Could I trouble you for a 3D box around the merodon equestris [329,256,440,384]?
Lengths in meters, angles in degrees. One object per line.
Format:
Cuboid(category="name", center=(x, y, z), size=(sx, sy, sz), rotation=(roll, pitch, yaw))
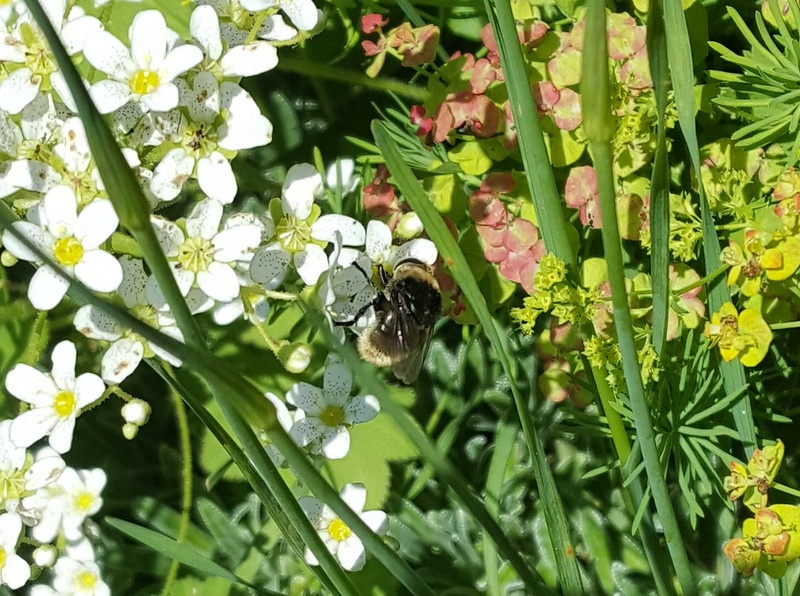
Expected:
Cuboid(category="merodon equestris", center=(-0.027, 0.039, 1.587), size=(0.217, 0.068, 0.190), rotation=(31, -93, -32))
